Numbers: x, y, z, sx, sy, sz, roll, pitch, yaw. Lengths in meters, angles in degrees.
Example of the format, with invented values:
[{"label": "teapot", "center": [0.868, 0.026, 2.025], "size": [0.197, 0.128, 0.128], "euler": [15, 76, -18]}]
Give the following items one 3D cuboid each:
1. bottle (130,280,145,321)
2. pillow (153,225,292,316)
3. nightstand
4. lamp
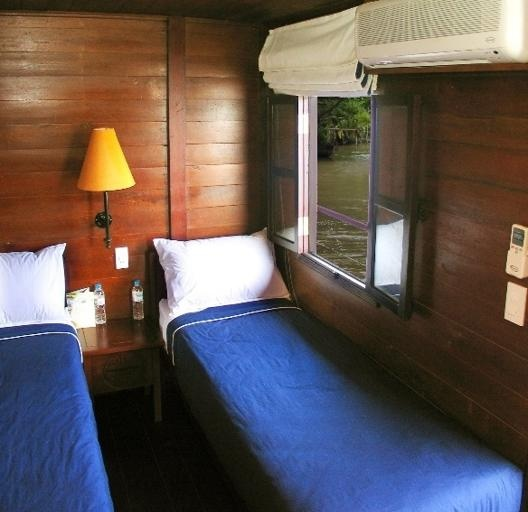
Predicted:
[{"label": "bottle", "center": [-0.849, 0.287, 3.134], "size": [0.098, 0.275, 0.097], "euler": [-4, 11, 1]}, {"label": "pillow", "center": [-0.298, 0.099, 3.052], "size": [0.835, 0.507, 0.219], "euler": [-7, -12, -27]}, {"label": "nightstand", "center": [-0.860, 0.661, 3.049], "size": [0.618, 0.626, 0.570], "euler": [-4, 8, -26]}, {"label": "lamp", "center": [-0.949, -0.420, 2.855], "size": [0.325, 0.741, 0.320], "euler": [-7, 11, -13]}]
